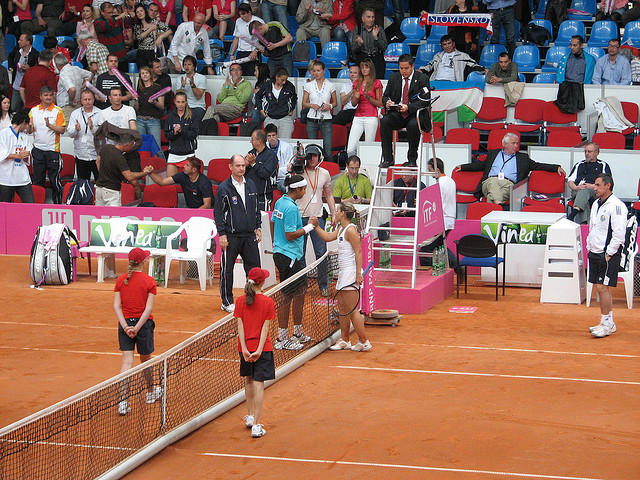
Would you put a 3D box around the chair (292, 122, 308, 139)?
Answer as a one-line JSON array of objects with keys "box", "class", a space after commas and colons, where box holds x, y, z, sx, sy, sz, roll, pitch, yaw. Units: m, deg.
[{"box": [-0.519, -2.835, 20.051, 0.404, 0.561, 0.447, 1, 1, 4], "class": "chair"}]

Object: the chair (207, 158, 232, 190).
[{"box": [-2.466, -1.653, 18.734, 0.537, 0.627, 0.613, -2, 11, -11], "class": "chair"}]

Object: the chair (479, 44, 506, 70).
[{"box": [5.070, -5.374, 22.335, 0.789, 0.880, 0.748, 5, 7, 13], "class": "chair"}]

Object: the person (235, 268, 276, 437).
[{"box": [-0.724, 1.284, 8.737, 0.433, 1.868, 0.428, -1, 10, -7], "class": "person"}]

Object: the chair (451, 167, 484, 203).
[{"box": [3.424, -1.278, 18.121, 0.738, 1.174, 0.831, 1, 7, 10], "class": "chair"}]

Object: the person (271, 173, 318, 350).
[{"box": [-0.390, 0.271, 11.297, 0.606, 2.411, 1.465, 0, 11, -3], "class": "person"}]

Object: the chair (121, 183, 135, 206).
[{"box": [-4.563, -1.106, 18.254, 0.383, 0.536, 0.418, 0, 2, -15], "class": "chair"}]

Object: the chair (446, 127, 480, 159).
[{"box": [3.574, -2.411, 19.189, 0.653, 0.961, 0.767, 2, 7, 14], "class": "chair"}]

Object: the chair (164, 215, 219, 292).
[{"box": [-2.458, 0.281, 14.814, 0.862, 1.296, 0.873, 3, 3, 16], "class": "chair"}]

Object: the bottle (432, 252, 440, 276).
[{"box": [2.150, 0.448, 14.149, 0.121, 0.397, 0.401, -1, 4, 14], "class": "bottle"}]

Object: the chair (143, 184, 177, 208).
[{"box": [-3.749, -1.042, 18.070, 0.530, 0.775, 0.614, 0, 2, -8], "class": "chair"}]

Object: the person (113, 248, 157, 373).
[{"box": [-2.239, 0.891, 9.354, 0.487, 1.564, 0.496, -3, 11, -17], "class": "person"}]

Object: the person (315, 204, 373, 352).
[{"box": [0.445, 0.533, 11.420, 0.673, 2.224, 0.966, -2, 11, -11], "class": "person"}]

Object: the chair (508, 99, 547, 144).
[{"box": [5.223, -2.803, 19.255, 0.884, 1.493, 1.087, 3, 8, 14], "class": "chair"}]

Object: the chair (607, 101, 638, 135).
[{"box": [7.547, -2.969, 18.723, 0.412, 0.763, 0.525, 4, 11, 19], "class": "chair"}]

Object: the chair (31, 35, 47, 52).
[{"box": [-8.888, -6.227, 24.237, 0.349, 0.515, 1.060, -4, 12, -20], "class": "chair"}]

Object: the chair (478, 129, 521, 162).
[{"box": [4.384, -2.414, 18.769, 0.799, 1.215, 0.931, 1, -1, 14], "class": "chair"}]

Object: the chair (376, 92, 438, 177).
[{"box": [1.822, -1.783, 14.057, 0.870, 1.270, 0.802, 8, 5, -7], "class": "chair"}]

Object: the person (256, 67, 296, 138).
[{"box": [-1.111, -3.102, 19.292, 1.007, 2.513, 0.765, 6, 28, 4], "class": "person"}]

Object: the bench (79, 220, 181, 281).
[{"box": [-3.798, 0.242, 15.242, 1.751, 1.191, 0.729, 2, 8, 0], "class": "bench"}]

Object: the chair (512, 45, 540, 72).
[{"box": [5.915, -5.185, 22.016, 0.788, 0.753, 0.801, 4, 13, 17], "class": "chair"}]

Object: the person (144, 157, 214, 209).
[{"box": [-2.821, -1.170, 15.862, 1.100, 1.126, 0.823, 4, 12, 20], "class": "person"}]

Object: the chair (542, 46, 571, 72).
[{"box": [6.641, -5.076, 21.523, 0.659, 0.723, 1.043, 4, 12, 20], "class": "chair"}]

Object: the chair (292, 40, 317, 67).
[{"box": [-0.436, -5.508, 22.662, 0.724, 0.729, 0.800, 1, 6, 6], "class": "chair"}]

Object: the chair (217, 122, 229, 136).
[{"box": [-2.522, -2.888, 20.001, 0.316, 0.407, 0.316, 1, 10, 4], "class": "chair"}]

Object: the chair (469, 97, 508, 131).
[{"box": [4.502, -3.256, 20.132, 0.842, 1.376, 0.921, 2, 8, 12], "class": "chair"}]

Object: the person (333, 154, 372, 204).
[{"box": [0.643, -1.030, 14.593, 0.746, 1.160, 0.804, 2, 29, -1], "class": "person"}]

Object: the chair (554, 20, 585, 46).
[{"box": [7.266, -6.086, 22.341, 0.849, 0.911, 1.006, 5, 8, 19], "class": "chair"}]

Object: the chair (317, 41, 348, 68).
[{"box": [0.389, -5.597, 22.855, 0.968, 0.934, 0.861, 2, 6, 5], "class": "chair"}]

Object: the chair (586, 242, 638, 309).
[{"box": [5.259, 0.612, 13.834, 0.819, 1.169, 0.985, 5, 12, 22], "class": "chair"}]

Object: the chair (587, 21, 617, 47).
[{"box": [8.068, -5.871, 21.878, 0.773, 0.735, 0.535, 4, 12, 20], "class": "chair"}]

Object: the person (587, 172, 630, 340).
[{"box": [4.475, 0.262, 12.027, 0.557, 2.468, 0.858, 4, 11, 20], "class": "person"}]

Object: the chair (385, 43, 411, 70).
[{"box": [2.260, -5.503, 22.968, 0.714, 0.794, 1.202, 4, 12, 18], "class": "chair"}]

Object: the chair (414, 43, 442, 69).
[{"box": [3.171, -5.408, 22.557, 0.752, 0.713, 0.666, 1, 11, 5], "class": "chair"}]

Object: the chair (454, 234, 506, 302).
[{"box": [3.036, 0.465, 14.431, 0.903, 1.237, 1.097, 3, 11, 13], "class": "chair"}]

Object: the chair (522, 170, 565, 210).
[{"box": [5.102, -1.135, 17.382, 0.771, 1.539, 0.966, 1, 4, 14], "class": "chair"}]

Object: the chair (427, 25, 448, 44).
[{"box": [3.581, -6.246, 23.326, 0.603, 0.516, 0.923, 2, 12, 8], "class": "chair"}]

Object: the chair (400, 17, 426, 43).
[{"box": [2.908, -6.573, 23.905, 0.866, 0.827, 0.827, 1, 11, 6], "class": "chair"}]
